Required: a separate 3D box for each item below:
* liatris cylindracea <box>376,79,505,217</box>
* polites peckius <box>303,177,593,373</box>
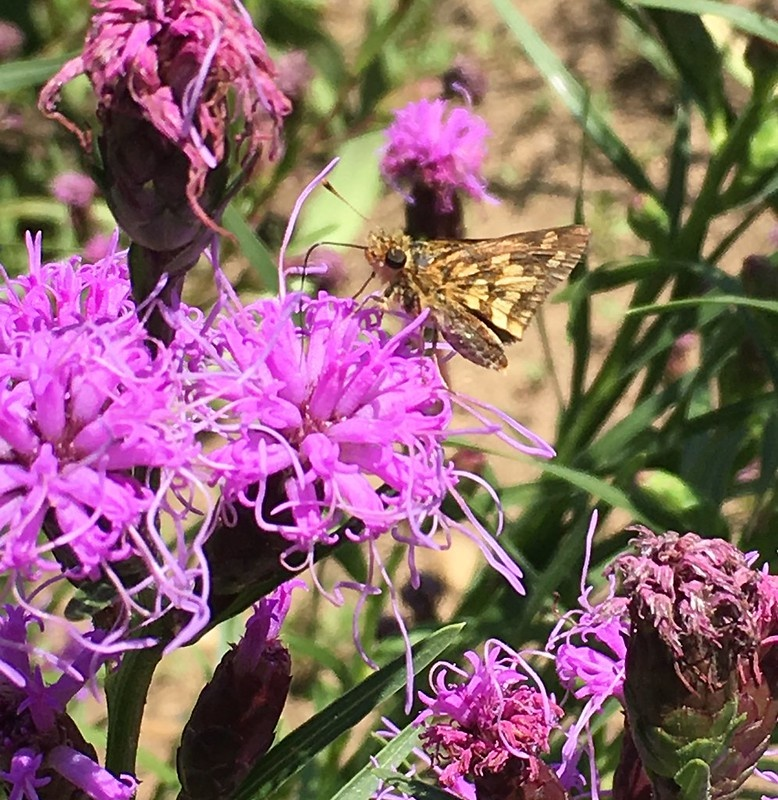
[{"bbox_3d":[0.077,-0.361,1.571,0.122,0.102,0.143,6,-9,-6],"label":"liatris cylindracea"},{"bbox_3d":[0.051,-0.093,1.219,0.266,0.160,0.104,9,18,16],"label":"polites peckius"}]
